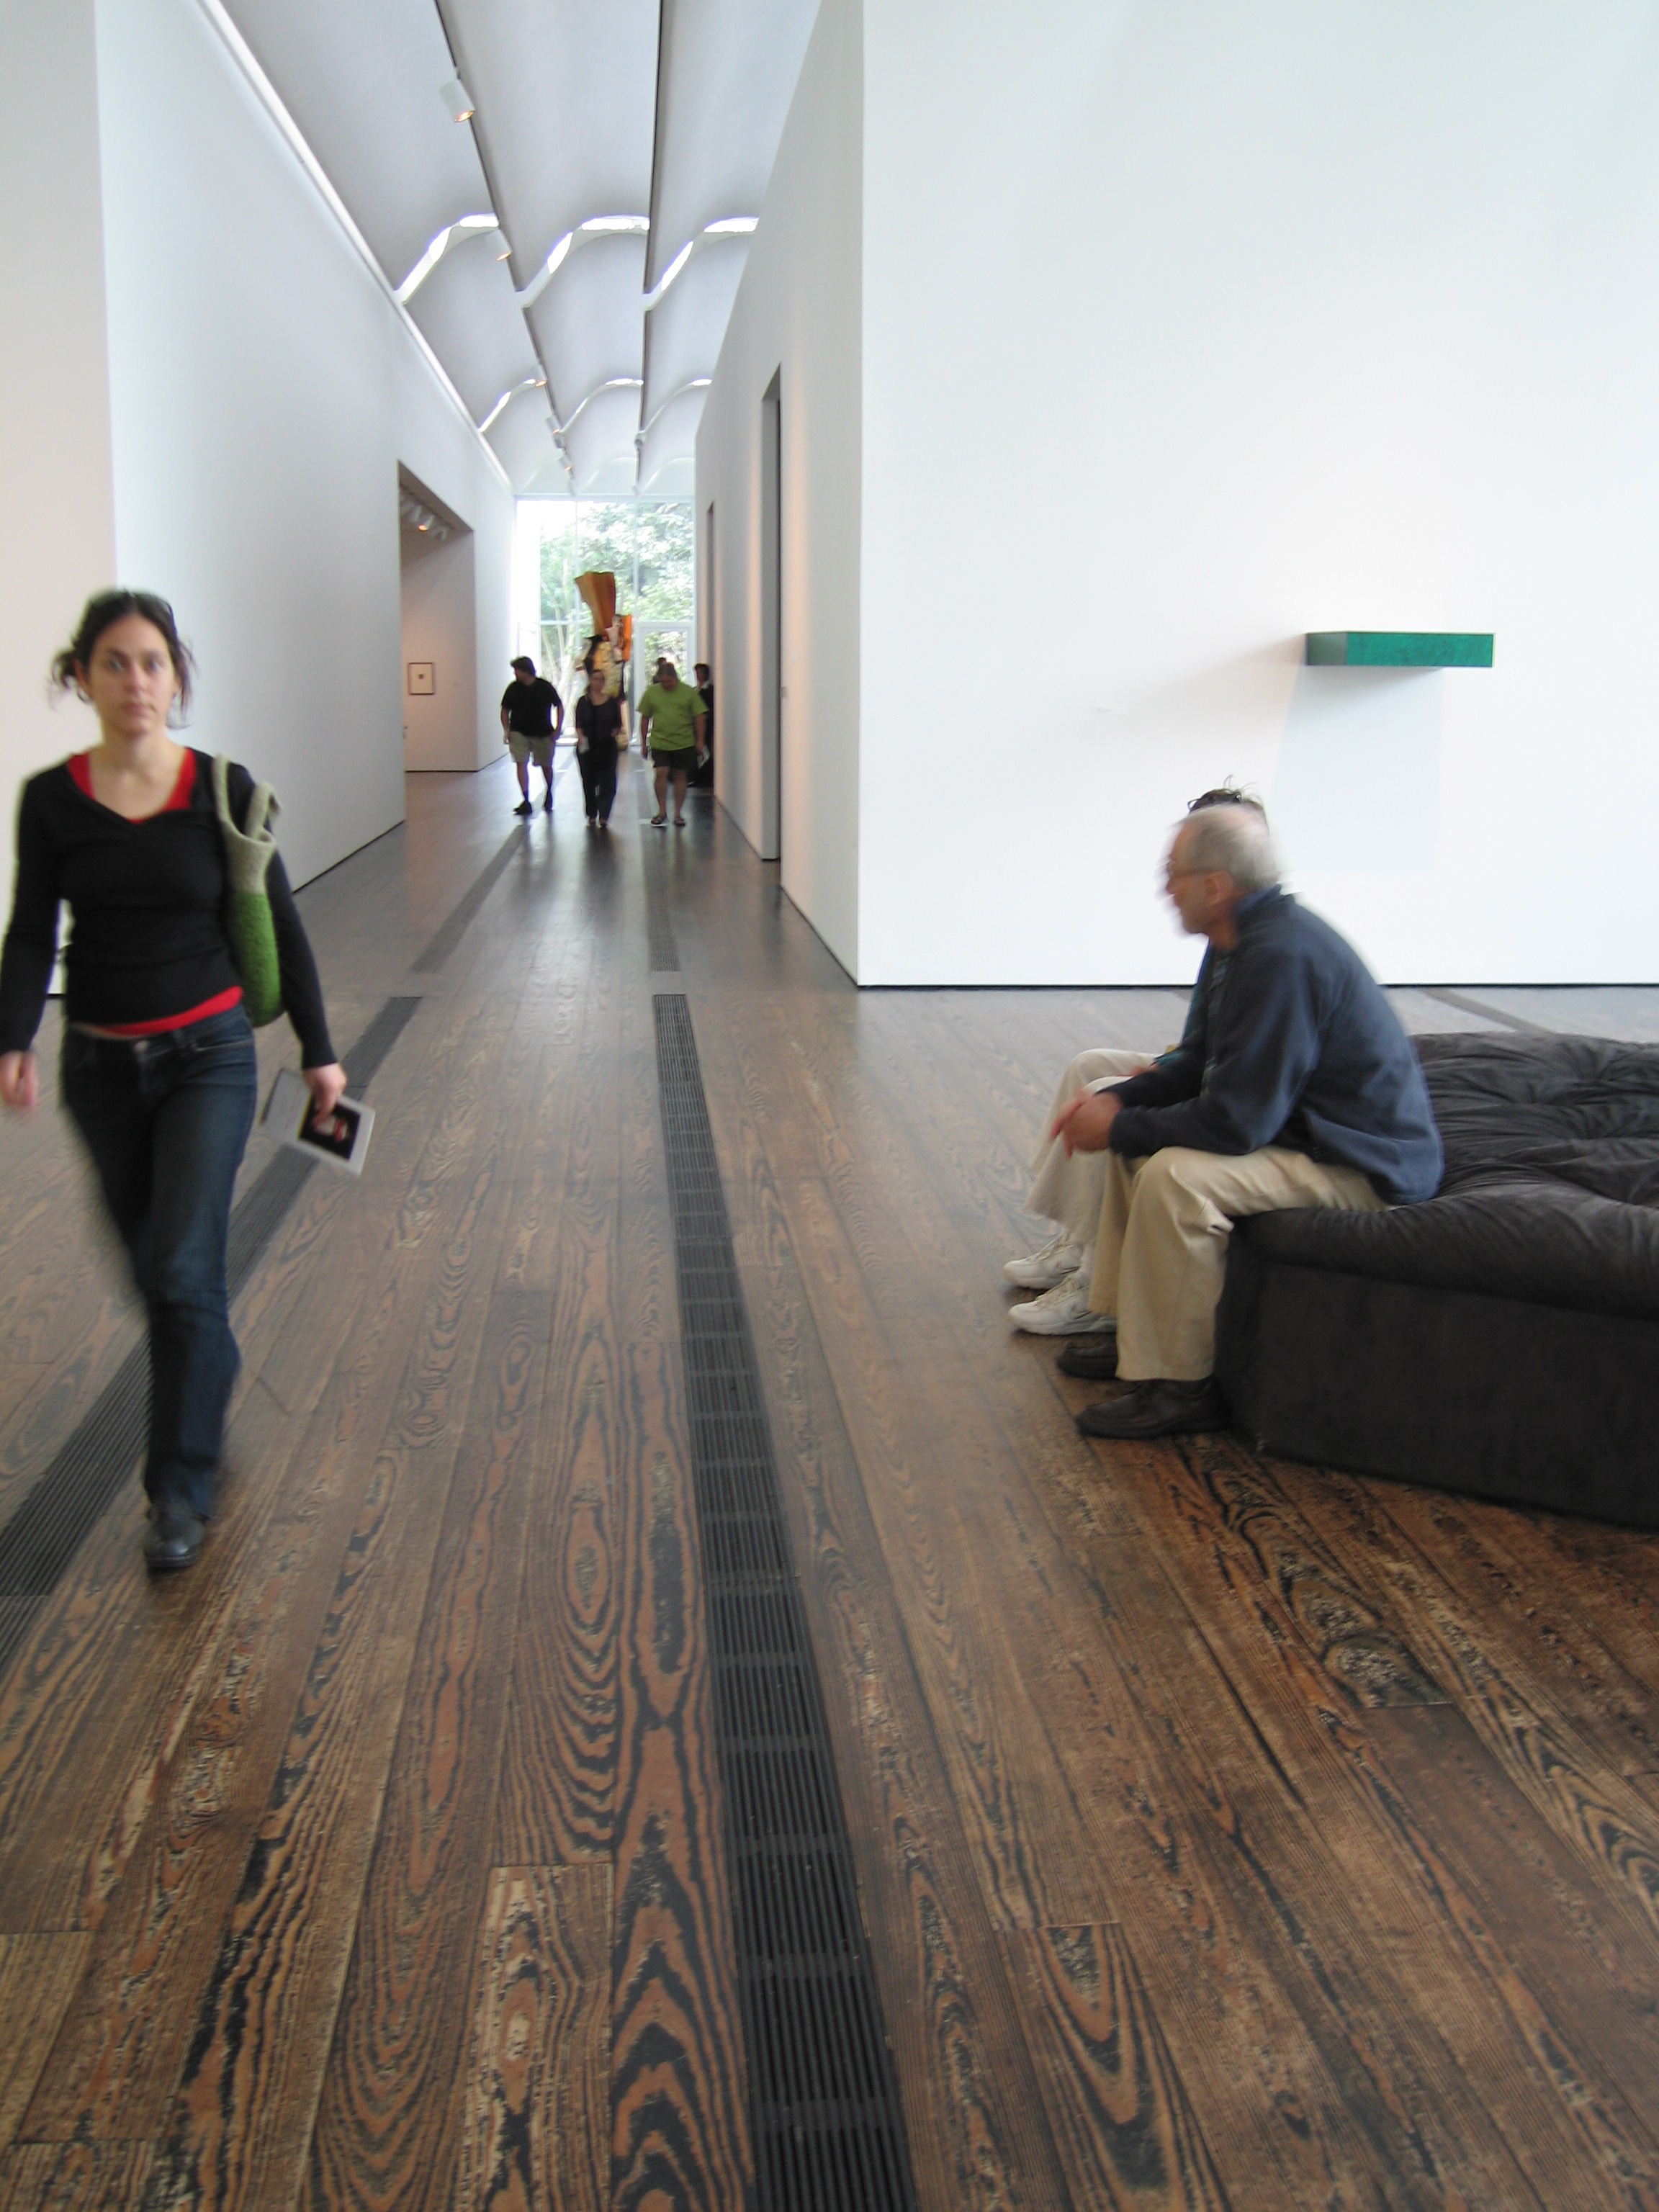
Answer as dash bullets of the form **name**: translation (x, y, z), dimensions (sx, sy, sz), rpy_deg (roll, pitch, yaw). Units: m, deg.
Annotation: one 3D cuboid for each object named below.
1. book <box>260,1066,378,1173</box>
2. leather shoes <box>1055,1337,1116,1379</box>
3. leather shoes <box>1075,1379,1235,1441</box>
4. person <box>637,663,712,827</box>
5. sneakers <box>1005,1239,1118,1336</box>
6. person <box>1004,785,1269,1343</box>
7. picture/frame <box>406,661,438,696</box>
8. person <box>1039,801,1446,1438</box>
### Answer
- **book**: translation (-1.221, 0.044, 2.826), dimensions (0.016, 0.227, 0.233), rpy_deg (-14, -33, 42)
- **leather shoes**: translation (0.592, 0.552, 2.679), dimensions (0.099, 0.060, 0.071), rpy_deg (3, 4, -15)
- **leather shoes**: translation (0.662, 0.612, 2.433), dimensions (0.199, 0.065, 0.147), rpy_deg (-6, 16, -1)
- **person**: translation (-1.916, -4.472, 14.574), dimensions (0.570, 1.952, 0.587), rpy_deg (-4, 29, -14)
- **sneakers**: translation (0.559, 0.456, 2.966), dimensions (0.137, 0.117, 0.263), rpy_deg (1, 9, 0)
- **person**: translation (0.803, -0.067, 2.694), dimensions (0.425, 1.184, 0.346), rpy_deg (-5, 25, 8)
- **picture/frame**: translation (-7.336, -7.744, 21.452), dimensions (0.442, 0.856, 0.072), rpy_deg (0, 10, -5)
- **person**: translation (0.892, 0.024, 2.590), dimensions (0.575, 1.299, 0.552), rpy_deg (3, 6, 20)
